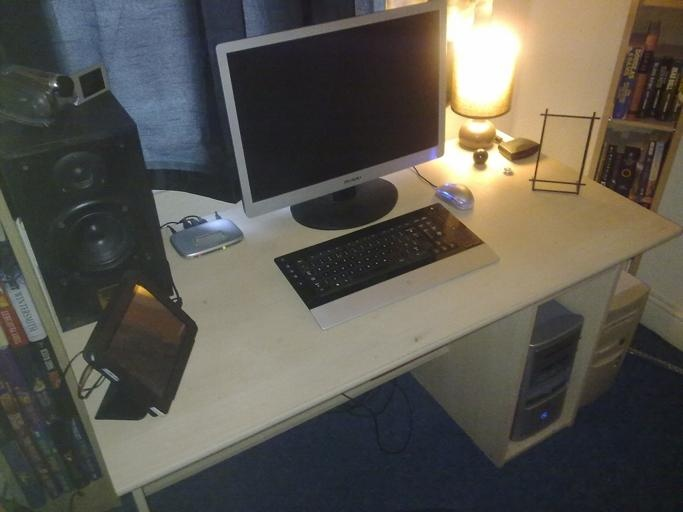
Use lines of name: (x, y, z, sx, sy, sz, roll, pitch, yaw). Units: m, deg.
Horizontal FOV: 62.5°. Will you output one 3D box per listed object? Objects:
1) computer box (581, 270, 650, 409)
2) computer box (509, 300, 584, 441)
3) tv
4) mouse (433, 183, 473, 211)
computer box: (1.107, 0.233, 2.026, 0.138, 0.249, 0.149, -7, 4, 0)
computer box: (0.682, 0.408, 2.089, 0.256, 0.524, 0.277, -18, 36, -18)
tv: (-0.047, -0.441, 1.671, 0.784, 0.639, 0.147, -19, 41, -28)
mouse: (0.372, -0.196, 1.879, 0.069, 0.045, 0.117, -31, 52, -26)
